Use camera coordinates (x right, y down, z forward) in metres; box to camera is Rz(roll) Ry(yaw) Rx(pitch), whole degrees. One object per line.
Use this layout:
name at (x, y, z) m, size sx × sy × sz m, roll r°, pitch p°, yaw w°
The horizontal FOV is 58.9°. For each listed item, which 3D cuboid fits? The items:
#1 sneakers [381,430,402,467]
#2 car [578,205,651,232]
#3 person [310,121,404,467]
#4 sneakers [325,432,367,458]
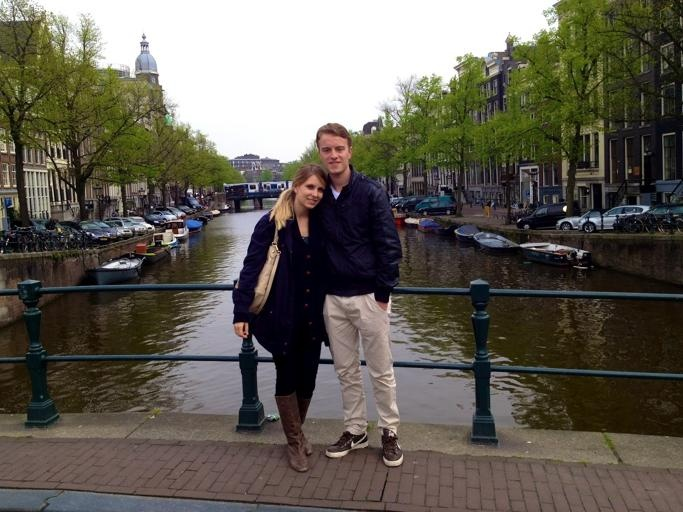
sneakers at (0.372, 1.335, 4.289) m, size 0.152 × 0.212 × 0.328 m, roll -1°, pitch 3°, yaw 5°
car at (14.464, -1.982, 31.897) m, size 3.538 × 1.062 × 1.571 m, roll -1°, pitch 3°, yaw 28°
person at (0.132, 0.253, 4.280) m, size 0.605 × 2.380 × 0.346 m, roll -1°, pitch 3°, yaw 8°
sneakers at (0.046, 1.368, 4.384) m, size 0.373 × 0.139 × 0.120 m, roll -2°, pitch 1°, yaw -29°
